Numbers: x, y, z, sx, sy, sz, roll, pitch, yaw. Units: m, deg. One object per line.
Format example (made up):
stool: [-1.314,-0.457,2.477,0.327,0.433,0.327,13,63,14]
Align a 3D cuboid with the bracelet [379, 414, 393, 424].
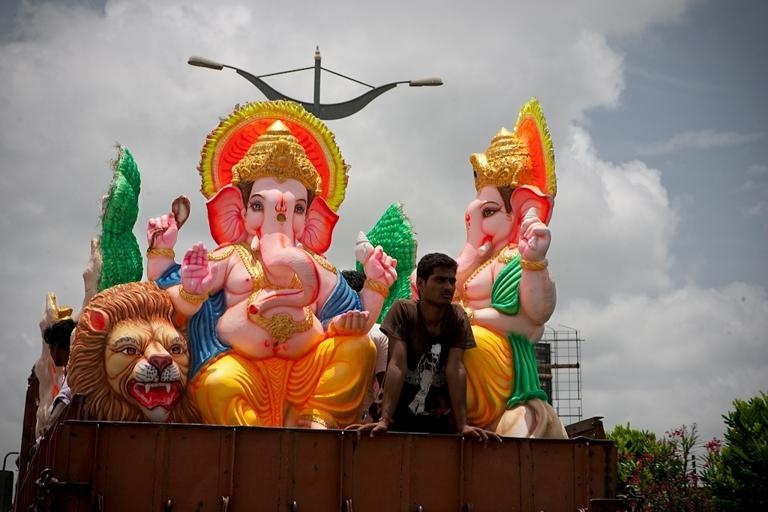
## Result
bracelet: [0.007,1.934,13.859,0.124,0.036,0.113,-4,-39,18]
